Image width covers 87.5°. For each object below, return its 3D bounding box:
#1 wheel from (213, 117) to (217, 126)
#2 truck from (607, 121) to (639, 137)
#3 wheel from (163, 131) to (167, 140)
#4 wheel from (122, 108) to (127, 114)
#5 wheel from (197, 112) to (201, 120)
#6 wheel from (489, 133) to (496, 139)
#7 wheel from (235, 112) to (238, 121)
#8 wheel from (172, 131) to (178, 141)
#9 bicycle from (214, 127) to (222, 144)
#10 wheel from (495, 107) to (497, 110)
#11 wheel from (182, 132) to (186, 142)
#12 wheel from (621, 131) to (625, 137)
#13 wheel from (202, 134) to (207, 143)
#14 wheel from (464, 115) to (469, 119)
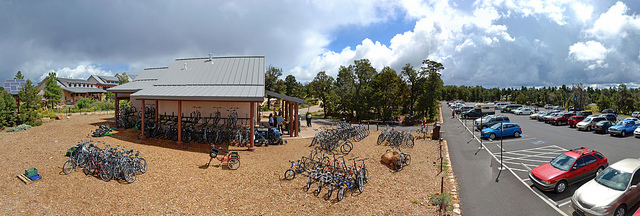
[{"bbox_3d":[-28.407,3.548,89.096,0.882,2.286,0.887,3,6,0],"label":"wheel"},{"bbox_3d":[84.186,5.783,93.632,7.343,4.198,2.316,0,6,-17],"label":"truck"},{"bbox_3d":[-41.283,7.139,88.419,1.325,1.968,0.599,7,7,34],"label":"wheel"},{"bbox_3d":[-55.492,0.837,94.188,0.526,1.614,1.947,-3,8,-45],"label":"wheel"},{"bbox_3d":[-33.028,1.990,90.105,0.644,1.844,0.616,3,6,0],"label":"wheel"},{"bbox_3d":[47.037,7.719,92.031,1.439,1.573,0.241,2,7,-7],"label":"wheel"},{"bbox_3d":[-22.746,2.312,89.047,0.479,2.155,1.048,5,7,17],"label":"wheel"},{"bbox_3d":[-38.615,7.220,88.037,1.148,2.144,0.427,2,7,-5],"label":"wheel"},{"bbox_3d":[-27.233,7.241,87.311,1.397,3.894,0.554,0,7,-26],"label":"bicycle"},{"bbox_3d":[69.727,0.064,133.454,0.345,0.931,1.171,6,-5,-15],"label":"wheel"},{"bbox_3d":[-36.152,7.899,87.917,0.834,1.736,0.811,5,-12,1],"label":"wheel"},{"bbox_3d":[83.801,7.088,92.911,0.713,1.596,2.087,-1,-4,38],"label":"wheel"},{"bbox_3d":[-30.767,7.967,87.658,0.947,1.903,0.909,-4,8,1],"label":"wheel"},{"bbox_3d":[48.139,2.943,110.446,1.170,1.216,0.784,4,6,15],"label":"wheel"}]
